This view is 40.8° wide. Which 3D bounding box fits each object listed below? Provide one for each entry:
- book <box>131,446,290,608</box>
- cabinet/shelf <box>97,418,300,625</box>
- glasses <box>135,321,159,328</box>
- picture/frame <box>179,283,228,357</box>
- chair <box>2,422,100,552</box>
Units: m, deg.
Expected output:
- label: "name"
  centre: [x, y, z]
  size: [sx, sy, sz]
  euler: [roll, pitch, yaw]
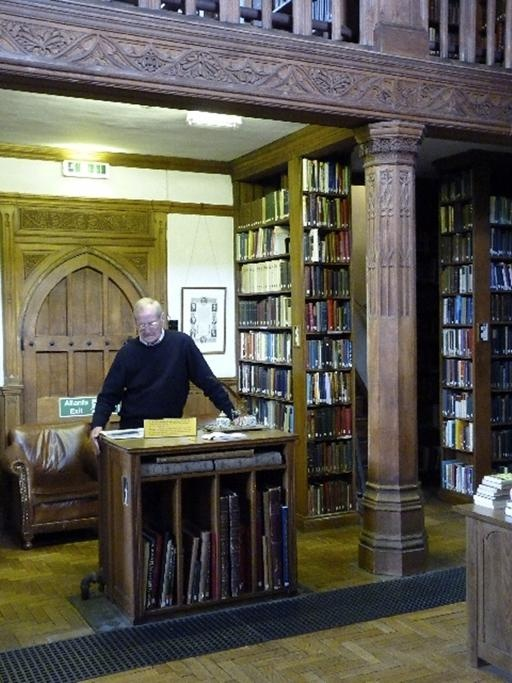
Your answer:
- label: "book"
  centre: [-0.241, 0.996, 3.636]
  size: [0.709, 0.820, 0.306]
  euler: [0, -3, -20]
- label: "cabinet/shelf"
  centre: [-0.308, 0.955, 3.833]
  size: [0.827, 0.970, 0.599]
  euler: [-3, 0, -22]
- label: "glasses"
  centre: [-0.606, -0.090, 3.848]
  size: [0.113, 0.038, 0.098]
  euler: [-1, -2, -5]
- label: "picture/frame"
  centre: [-0.502, -0.191, 6.601]
  size: [0.421, 0.710, 0.020]
  euler: [0, -29, -5]
- label: "chair"
  centre: [-1.611, 1.108, 5.405]
  size: [0.683, 0.858, 0.695]
  euler: [0, -2, -21]
